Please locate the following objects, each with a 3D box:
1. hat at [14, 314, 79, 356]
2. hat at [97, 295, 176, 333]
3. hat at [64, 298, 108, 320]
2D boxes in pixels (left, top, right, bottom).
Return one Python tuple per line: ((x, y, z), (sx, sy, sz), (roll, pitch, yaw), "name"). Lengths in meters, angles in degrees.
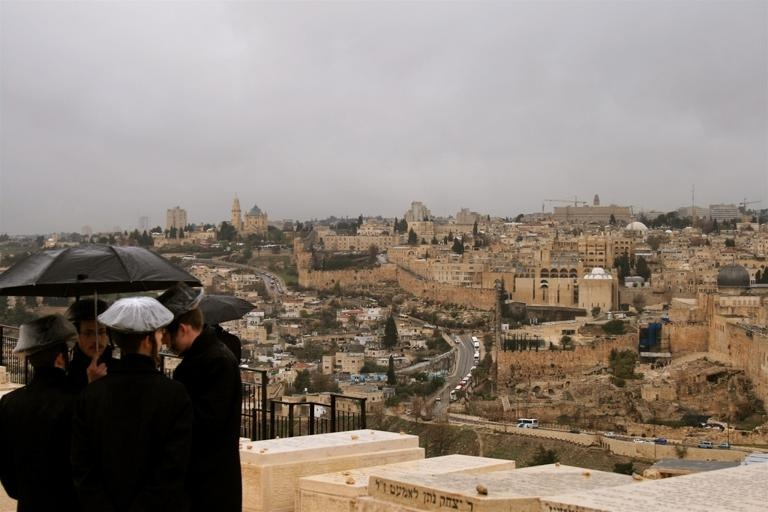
((-1.661, 0.384, 4.193), (0.194, 0.096, 0.260), (-3, 10, 36), "hat")
((-1.144, 0.266, 3.854), (0.216, 0.065, 0.208), (2, 9, 11), "hat")
((-1.574, 0.285, 4.488), (0.137, 0.063, 0.182), (-2, 6, -1), "hat")
